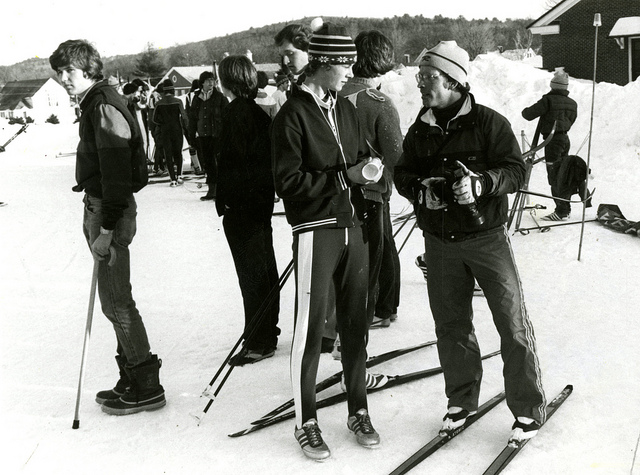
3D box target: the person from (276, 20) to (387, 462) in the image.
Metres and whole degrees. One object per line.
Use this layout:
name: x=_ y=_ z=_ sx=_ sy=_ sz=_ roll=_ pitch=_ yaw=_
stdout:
person: x=0.092 y=-0.070 z=3.488 sx=0.614 sy=2.491 sz=1.244 roll=-1 pitch=15 yaw=6

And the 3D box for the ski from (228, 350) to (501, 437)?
ski: x=0.496 y=1.057 z=3.995 sx=2.410 sy=0.128 sz=0.158 roll=-6 pitch=-4 yaw=-26

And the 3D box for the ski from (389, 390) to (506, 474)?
ski: x=0.785 y=1.196 z=3.372 sx=0.801 sy=0.057 sz=0.064 roll=-30 pitch=7 yaw=-35

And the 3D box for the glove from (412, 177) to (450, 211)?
glove: x=0.665 y=-0.265 z=3.365 sx=0.121 sy=0.218 sz=0.266 roll=-11 pitch=17 yaw=-29

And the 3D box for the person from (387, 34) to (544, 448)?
person: x=0.889 y=0.020 z=3.343 sx=0.983 sy=2.323 sz=0.605 roll=5 pitch=16 yaw=26

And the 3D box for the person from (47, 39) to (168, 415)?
person: x=-1.411 y=-0.074 z=3.795 sx=0.513 sy=2.465 sz=0.695 roll=-7 pitch=15 yaw=-19
